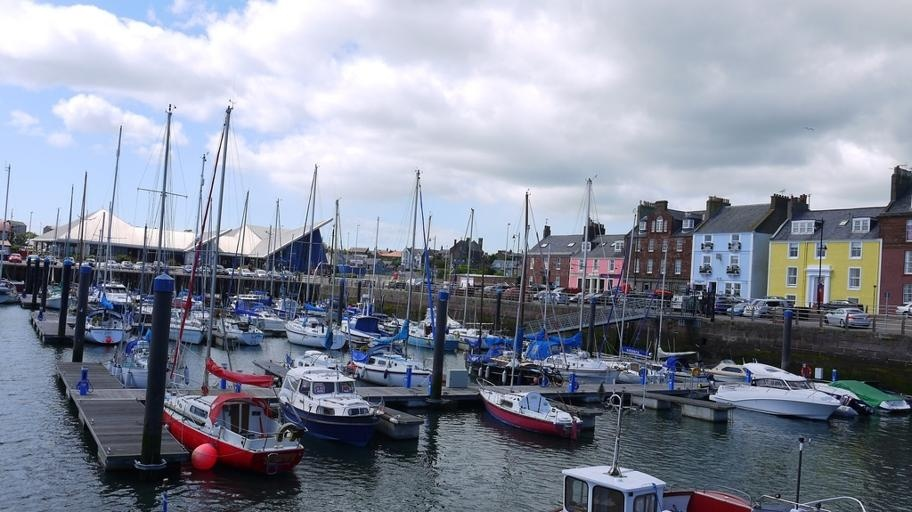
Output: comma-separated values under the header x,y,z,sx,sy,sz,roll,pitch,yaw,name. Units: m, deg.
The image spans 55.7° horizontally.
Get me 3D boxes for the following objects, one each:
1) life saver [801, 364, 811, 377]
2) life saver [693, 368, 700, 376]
x,y,z,sx,sy,sz,roll,pitch,yaw,name
29.489,9.722,72.879,0.628,1.007,1.539,0,-3,33,life saver
19.766,9.635,71.518,0.553,0.624,0.880,1,-3,19,life saver
